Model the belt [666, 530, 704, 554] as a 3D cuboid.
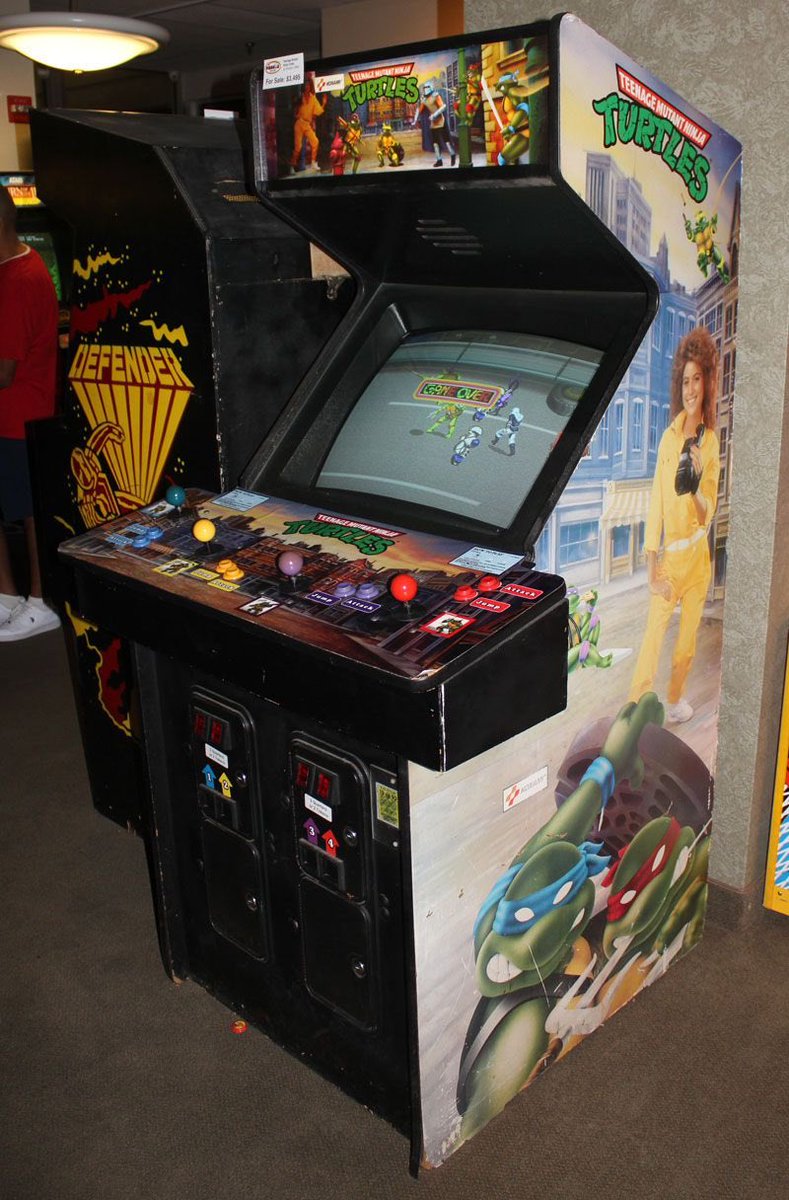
[{"bbox_3d":[0.468,-0.093,1.395,0.047,0.017,0.064,-20,-13,-22],"label":"belt"}]
